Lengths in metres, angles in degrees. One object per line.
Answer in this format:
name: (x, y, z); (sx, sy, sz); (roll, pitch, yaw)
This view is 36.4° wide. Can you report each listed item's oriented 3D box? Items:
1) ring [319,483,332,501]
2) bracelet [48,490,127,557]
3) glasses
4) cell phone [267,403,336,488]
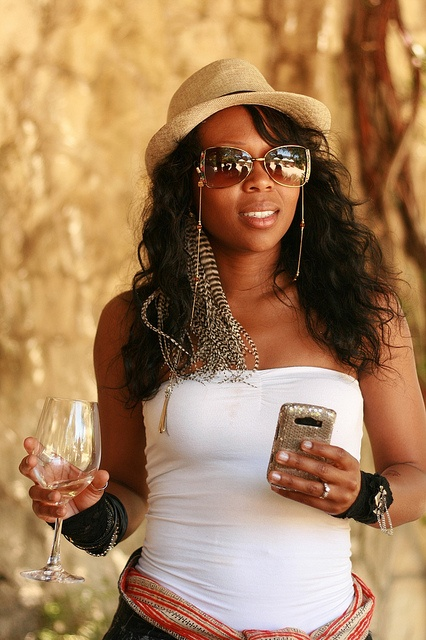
ring: (0.200, 0.313, 1.183); (0.027, 0.023, 0.023); (-2, 42, -3)
bracelet: (-0.305, 0.468, 1.554); (0.139, 0.109, 0.165); (-52, 25, -12)
glasses: (0.101, -0.365, 1.680); (0.314, 0.099, 0.213); (-5, 3, -36)
cell phone: (0.168, 0.223, 1.235); (0.138, 0.155, 0.041); (16, -1, -7)
